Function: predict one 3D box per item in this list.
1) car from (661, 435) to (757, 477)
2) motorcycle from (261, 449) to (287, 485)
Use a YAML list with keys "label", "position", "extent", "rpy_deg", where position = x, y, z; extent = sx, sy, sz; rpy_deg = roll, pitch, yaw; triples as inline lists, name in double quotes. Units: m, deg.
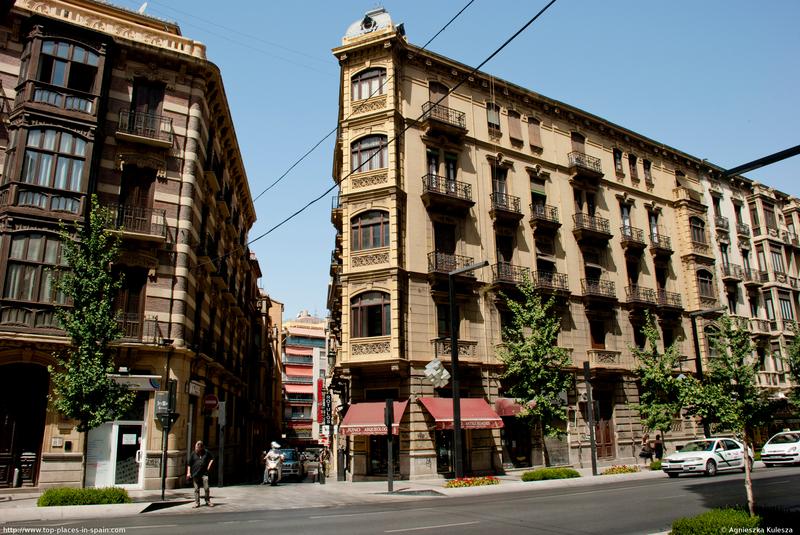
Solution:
- label: "car"
  position: [16.423, 10.336, 35.091]
  extent: [4.414, 1.906, 1.579]
  rpy_deg: [7, -22, -25]
- label: "motorcycle"
  position: [-7.538, 11.628, 38.405]
  extent: [1.212, 1.801, 3.438]
  rpy_deg: [3, -2, -12]
